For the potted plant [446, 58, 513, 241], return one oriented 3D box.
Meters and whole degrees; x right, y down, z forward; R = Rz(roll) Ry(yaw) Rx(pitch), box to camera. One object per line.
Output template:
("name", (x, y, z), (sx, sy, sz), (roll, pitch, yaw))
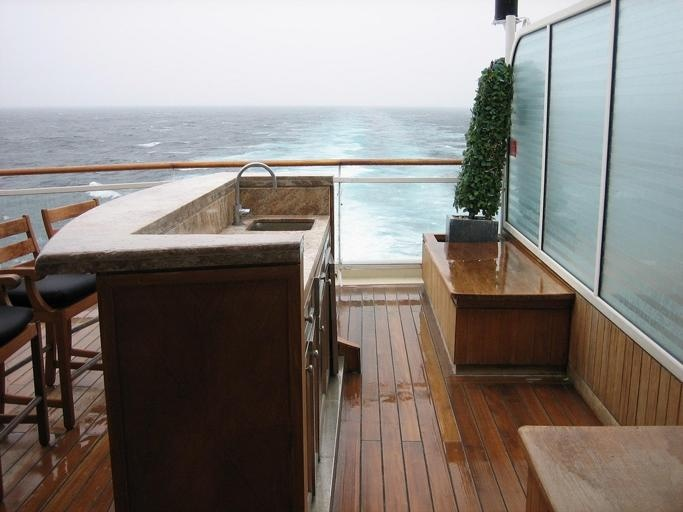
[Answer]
("potted plant", (1.349, -0.886, 4.523), (0.411, 1.695, 0.382), (10, 18, 19))
